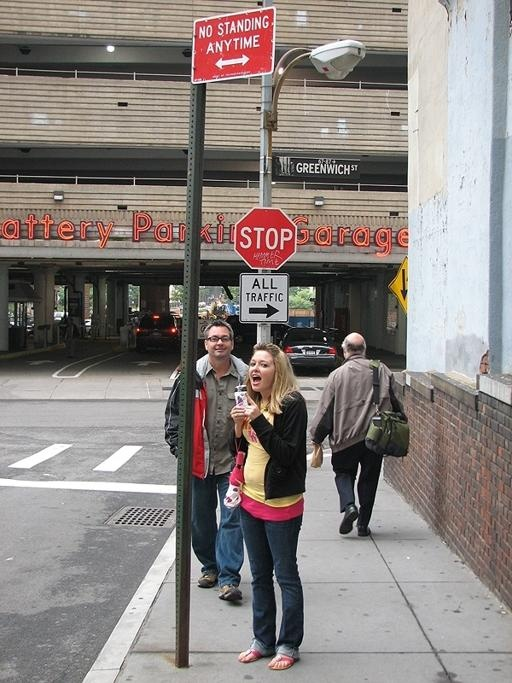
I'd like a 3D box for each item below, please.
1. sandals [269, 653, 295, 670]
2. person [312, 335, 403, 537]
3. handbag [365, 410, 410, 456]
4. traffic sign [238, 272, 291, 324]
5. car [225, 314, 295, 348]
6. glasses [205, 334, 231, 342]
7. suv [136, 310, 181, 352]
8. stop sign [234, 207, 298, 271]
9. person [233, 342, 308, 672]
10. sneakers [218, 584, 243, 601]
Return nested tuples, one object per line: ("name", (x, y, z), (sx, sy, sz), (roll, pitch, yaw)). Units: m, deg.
("sandals", (0.123, 1.480, 3.658), (0.100, 0.045, 0.054), (12, -20, -42))
("person", (0.839, 0.759, 6.305), (0.739, 1.647, 0.940), (-1, 1, 11))
("handbag", (1.022, 0.695, 5.959), (0.317, 0.384, 0.277), (1, 3, -14))
("traffic sign", (0.089, -0.462, 8.353), (0.520, 0.634, 0.057), (0, -5, 0))
("car", (0.255, -0.529, 39.483), (2.826, 1.176, 1.439), (-1, 4, 4))
("glasses", (-0.234, -0.018, 4.924), (0.143, 0.036, 0.095), (-1, 1, -3))
("suv", (-3.992, -0.457, 33.110), (1.186, 1.249, 2.351), (0, 7, 2))
("stop sign", (0.103, -1.131, 8.535), (0.624, 0.682, 0.425), (-1, 1, -1))
("person", (0.065, 0.768, 3.781), (0.362, 1.513, 0.447), (-1, 1, 3))
("sneakers", (-0.145, 1.508, 4.737), (0.064, 0.075, 0.152), (3, -16, -14))
